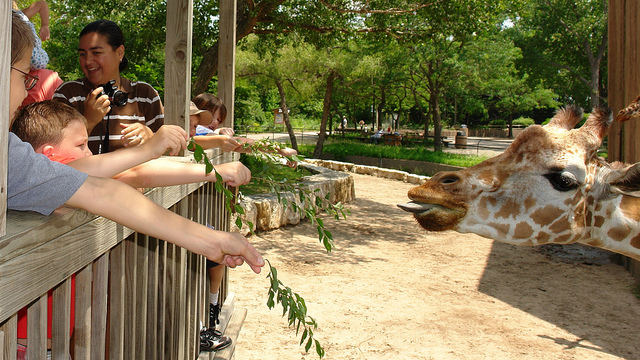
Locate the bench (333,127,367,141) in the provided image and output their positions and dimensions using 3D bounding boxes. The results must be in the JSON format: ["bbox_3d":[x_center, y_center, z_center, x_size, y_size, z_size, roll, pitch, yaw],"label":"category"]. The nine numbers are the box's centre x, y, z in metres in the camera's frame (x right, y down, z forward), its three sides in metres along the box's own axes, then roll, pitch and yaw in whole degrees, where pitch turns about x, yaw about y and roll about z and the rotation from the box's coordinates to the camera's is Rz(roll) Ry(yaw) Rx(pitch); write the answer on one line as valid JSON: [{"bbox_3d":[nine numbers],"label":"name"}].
[{"bbox_3d":[2.379,-3.649,40.409,2.187,0.718,10.857,3,11,0],"label":"bench"}]

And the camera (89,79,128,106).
[{"bbox_3d":[-1.770,-0.726,4.255,0.211,0.175,0.278,11,3,17],"label":"camera"}]

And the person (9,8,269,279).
[{"bbox_3d":[-1.297,-0.237,2.951,1.798,1.490,0.562,7,11,20],"label":"person"}]

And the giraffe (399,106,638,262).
[{"bbox_3d":[1.769,-0.070,4.504,2.045,1.048,1.053,6,7,6],"label":"giraffe"}]

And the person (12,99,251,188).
[{"bbox_3d":[-1.326,-0.171,3.415,1.417,0.468,0.630,10,6,-8],"label":"person"}]
